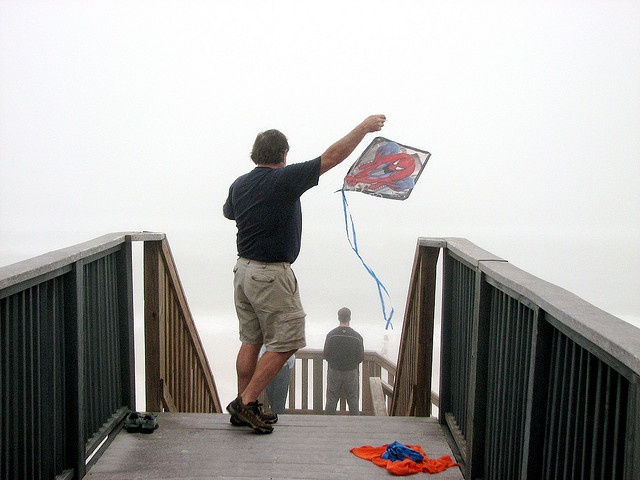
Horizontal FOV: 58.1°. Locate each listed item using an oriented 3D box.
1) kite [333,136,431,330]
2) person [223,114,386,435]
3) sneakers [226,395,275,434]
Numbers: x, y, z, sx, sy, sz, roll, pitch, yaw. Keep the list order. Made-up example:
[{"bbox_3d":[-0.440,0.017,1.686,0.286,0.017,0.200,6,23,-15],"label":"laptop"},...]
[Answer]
[{"bbox_3d":[0.384,-0.032,3.748,0.593,1.113,0.687,1,-9,33],"label":"kite"},{"bbox_3d":[-0.217,0.225,3.490,0.768,1.798,0.309,2,-4,4],"label":"person"},{"bbox_3d":[-0.403,1.015,3.372,0.283,0.188,0.161,3,-4,-3],"label":"sneakers"}]
